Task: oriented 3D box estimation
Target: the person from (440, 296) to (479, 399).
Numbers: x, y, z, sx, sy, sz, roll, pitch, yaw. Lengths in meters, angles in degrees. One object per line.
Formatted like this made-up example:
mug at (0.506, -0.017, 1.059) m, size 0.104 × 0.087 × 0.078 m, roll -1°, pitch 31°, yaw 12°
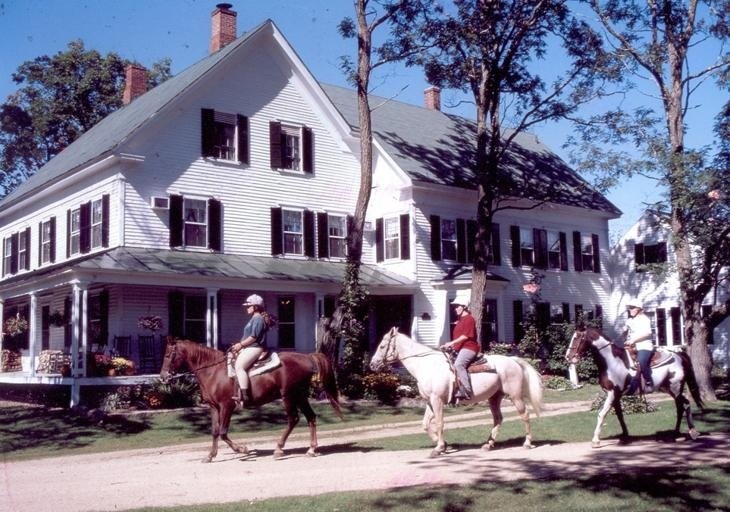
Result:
person at (2.549, 2.398, 20.617) m, size 0.842 × 2.696 × 0.569 m, roll 0°, pitch -3°, yaw -39°

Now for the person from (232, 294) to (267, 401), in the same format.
person at (-2.976, 2.447, 20.435) m, size 0.973 × 2.849 × 0.553 m, roll -1°, pitch -2°, yaw -11°

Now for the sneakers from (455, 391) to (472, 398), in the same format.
sneakers at (2.534, 3.571, 20.309) m, size 0.479 × 0.209 × 0.157 m, roll 10°, pitch -16°, yaw -29°

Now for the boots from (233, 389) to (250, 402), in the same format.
boots at (-3.207, 3.573, 20.298) m, size 0.441 × 0.333 × 0.233 m, roll -1°, pitch -3°, yaw -10°

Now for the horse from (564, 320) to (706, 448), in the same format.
horse at (7.333, 3.345, 21.404) m, size 2.801 × 3.127 × 4.060 m, roll -3°, pitch -3°, yaw 26°

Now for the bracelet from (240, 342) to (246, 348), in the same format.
bracelet at (-3.169, 2.277, 20.278) m, size 0.096 × 0.141 × 0.049 m, roll 9°, pitch -7°, yaw 6°
